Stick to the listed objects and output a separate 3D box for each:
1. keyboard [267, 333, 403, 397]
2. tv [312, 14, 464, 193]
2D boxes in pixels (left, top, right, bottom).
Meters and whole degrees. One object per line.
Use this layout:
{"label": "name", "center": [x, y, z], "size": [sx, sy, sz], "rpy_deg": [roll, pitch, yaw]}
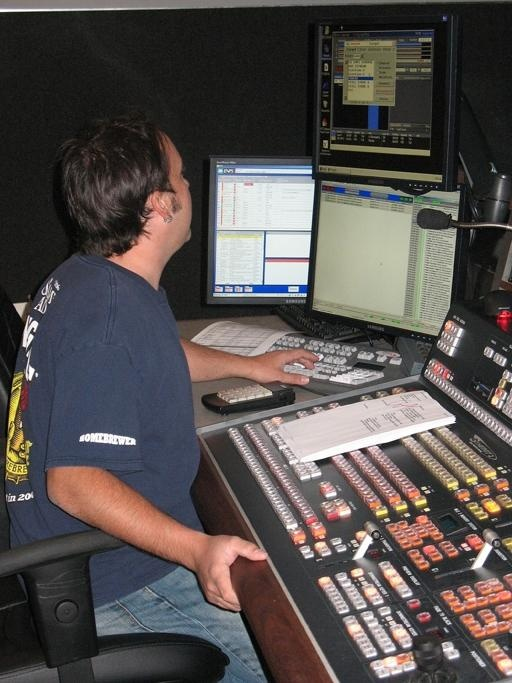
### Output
{"label": "keyboard", "center": [0.178, 0.048, 1.440], "size": [0.205, 0.141, 0.030], "rpy_deg": [2, -26, -36]}
{"label": "tv", "center": [0.285, -0.541, 1.316], "size": [0.043, 0.348, 0.428], "rpy_deg": [-21, 30, -27]}
